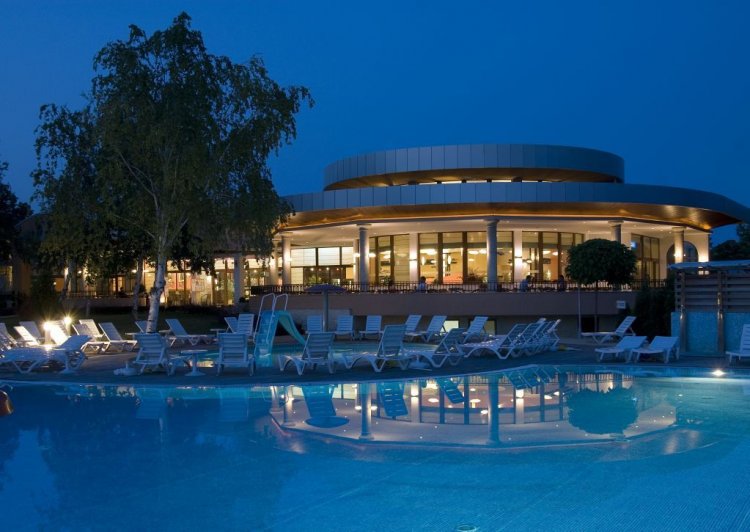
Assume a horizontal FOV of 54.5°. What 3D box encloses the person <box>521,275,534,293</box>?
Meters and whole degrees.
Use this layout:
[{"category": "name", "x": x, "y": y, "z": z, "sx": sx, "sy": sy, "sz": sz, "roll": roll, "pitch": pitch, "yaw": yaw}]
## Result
[{"category": "person", "x": 7.333, "y": 0.942, "z": 34.949, "sx": 0.602, "sy": 0.556, "sz": 1.179, "roll": -3, "pitch": -4, "yaw": 12}]
